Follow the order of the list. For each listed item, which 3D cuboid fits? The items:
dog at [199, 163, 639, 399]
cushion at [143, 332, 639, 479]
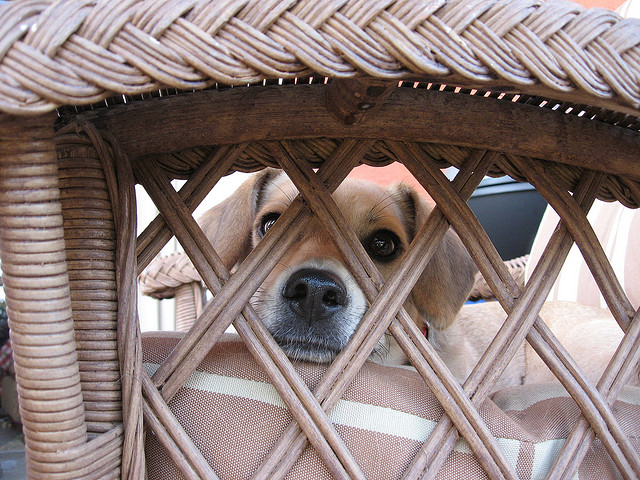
[{"bbox_3d":[0.201,0.086,1.295,0.718,0.346,0.407,30,-18,-27],"label":"dog"},{"bbox_3d":[0.127,0.266,1.052,0.844,0.272,0.221,2,-27,-7],"label":"cushion"}]
